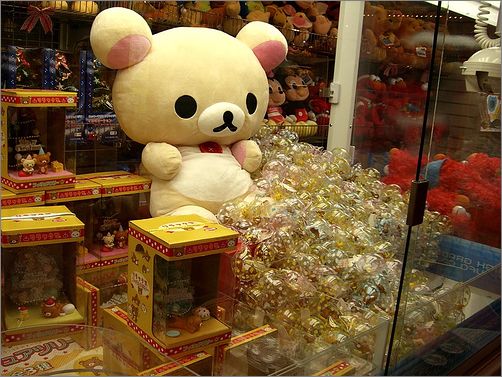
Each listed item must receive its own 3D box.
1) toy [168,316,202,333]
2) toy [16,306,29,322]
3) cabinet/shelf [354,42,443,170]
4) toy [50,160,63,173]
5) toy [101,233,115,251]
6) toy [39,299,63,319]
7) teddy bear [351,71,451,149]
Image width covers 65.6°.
[{"bbox_3d":[-0.212,0.435,1.252,0.075,0.028,0.048,8,23,1],"label":"toy"},{"bbox_3d":[-0.809,0.441,1.369,0.047,0.060,0.039,0,-22,-34],"label":"toy"},{"bbox_3d":[1.101,-0.659,3.431,0.754,1.120,0.758,15,21,19],"label":"cabinet/shelf"},{"bbox_3d":[-1.040,-0.118,2.063,0.044,0.043,0.069,-3,10,-39],"label":"toy"},{"bbox_3d":[-0.841,0.307,2.267,0.078,0.089,0.092,-7,19,-21],"label":"toy"},{"bbox_3d":[-0.717,0.429,1.388,0.068,0.047,0.062,-11,21,-31],"label":"toy"},{"bbox_3d":[1.087,-0.562,3.015,0.285,0.607,0.680,-6,18,-18],"label":"teddy bear"}]
